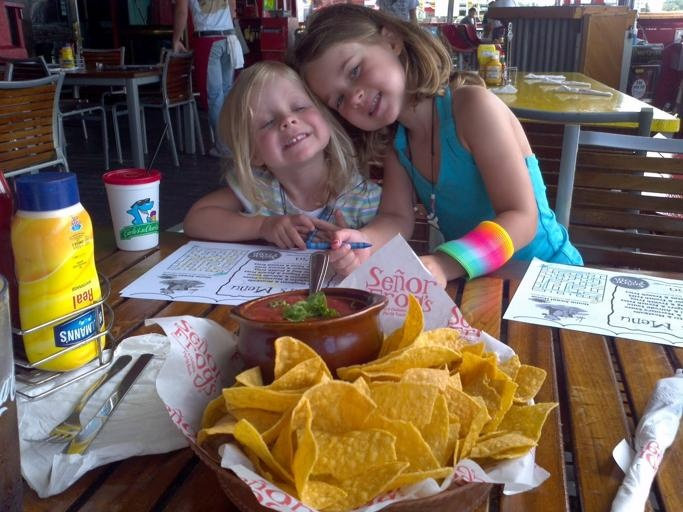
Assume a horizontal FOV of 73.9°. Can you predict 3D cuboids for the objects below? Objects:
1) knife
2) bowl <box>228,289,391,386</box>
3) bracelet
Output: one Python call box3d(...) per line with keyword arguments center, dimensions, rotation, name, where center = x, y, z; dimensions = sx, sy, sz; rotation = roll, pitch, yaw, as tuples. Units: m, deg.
box3d(center=(-0.286, 0.194, 0.535), dimensions=(0.044, 0.017, 0.166), rotation=(12, 23, 2), name="knife")
box3d(center=(-0.048, 0.120, 0.598), dimensions=(0.199, 0.121, 0.191), rotation=(-2, 3, 0), name="bowl")
box3d(center=(0.282, -0.024, 0.944), dimensions=(0.144, 0.061, 0.102), rotation=(-24, 38, -26), name="bracelet")
